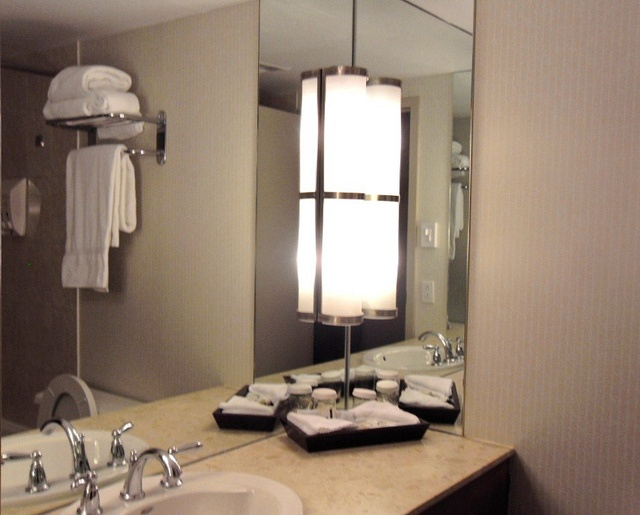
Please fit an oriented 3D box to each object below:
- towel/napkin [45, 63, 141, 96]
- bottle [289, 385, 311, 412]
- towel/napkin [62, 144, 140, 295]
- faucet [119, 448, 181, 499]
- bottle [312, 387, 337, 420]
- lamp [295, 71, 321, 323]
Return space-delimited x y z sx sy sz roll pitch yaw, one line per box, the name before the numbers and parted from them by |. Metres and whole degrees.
towel/napkin | -0.537 -0.407 1.416 0.193 0.091 0.010 -4 13 -39
bottle | -0.057 0.445 1.950 0.067 0.085 0.074 0 -2 0
towel/napkin | -0.525 -0.095 1.439 0.170 0.344 0.077 -1 11 -27
faucet | -0.395 0.517 1.440 0.152 0.101 0.057 -3 -7 7
bottle | 0.026 0.468 1.940 0.063 0.072 0.069 0 -1 -3
lamp | -0.038 -0.197 1.964 0.083 0.806 0.103 2 -2 -22
